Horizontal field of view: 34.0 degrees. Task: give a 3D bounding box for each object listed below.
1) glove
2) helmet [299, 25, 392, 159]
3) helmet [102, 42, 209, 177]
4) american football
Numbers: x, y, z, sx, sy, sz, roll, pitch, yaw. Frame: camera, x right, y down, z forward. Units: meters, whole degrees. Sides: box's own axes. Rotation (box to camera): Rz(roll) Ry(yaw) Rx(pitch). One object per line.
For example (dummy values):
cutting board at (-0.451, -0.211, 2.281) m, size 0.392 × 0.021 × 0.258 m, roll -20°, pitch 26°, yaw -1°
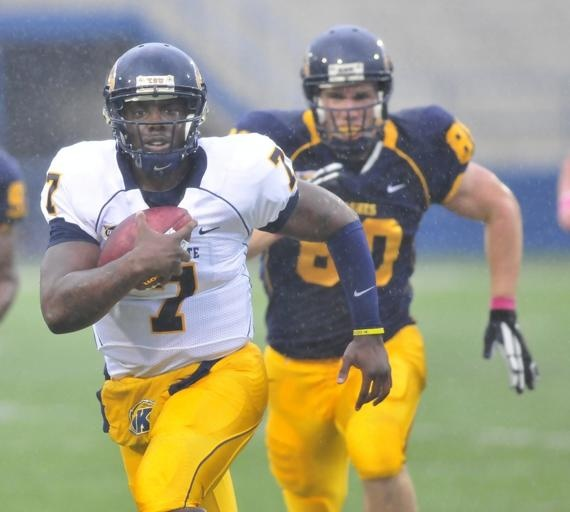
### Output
glove at (0.826, 0.324, 3.442) m, size 0.184 × 0.361 × 0.091 m, roll -8°, pitch -17°, yaw 15°
helmet at (0.241, -0.615, 3.589) m, size 0.249 × 0.594 × 0.305 m, roll -2°, pitch 17°, yaw -12°
helmet at (-0.408, -0.467, 2.926) m, size 0.317 × 0.388 × 0.386 m, roll -1°, pitch 5°, yaw -7°
american football at (-0.434, -0.069, 2.858) m, size 0.279 × 0.203 × 0.172 m, roll -34°, pitch 30°, yaw 4°
